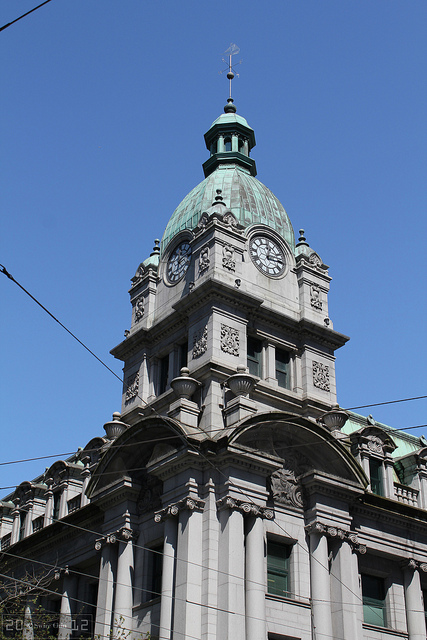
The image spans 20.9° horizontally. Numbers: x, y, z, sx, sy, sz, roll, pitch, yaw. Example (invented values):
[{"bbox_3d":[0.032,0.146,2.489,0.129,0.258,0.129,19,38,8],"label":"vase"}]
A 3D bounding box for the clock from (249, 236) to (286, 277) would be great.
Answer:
[{"bbox_3d":[2.653,-3.202,58.447,1.578,2.215,0.706,0,-10,-30],"label":"clock"}]

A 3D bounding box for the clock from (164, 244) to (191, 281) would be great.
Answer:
[{"bbox_3d":[-1.843,-2.931,59.347,0.224,2.103,2.324,21,-37,-28],"label":"clock"}]
